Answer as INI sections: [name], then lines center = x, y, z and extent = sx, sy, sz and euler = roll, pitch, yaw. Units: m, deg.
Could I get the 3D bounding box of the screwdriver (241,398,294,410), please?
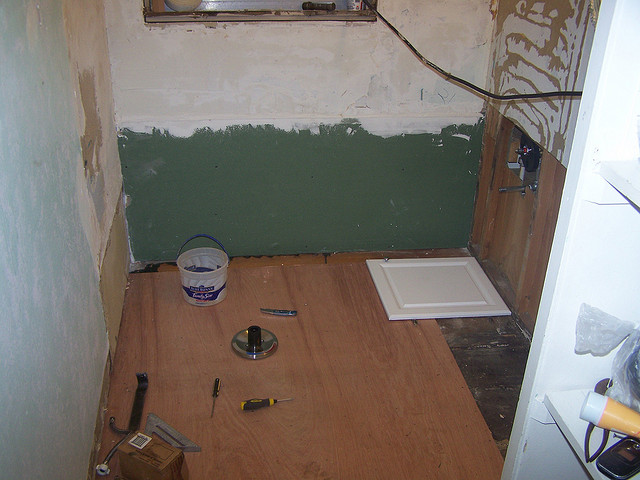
[screwdriver]
center = -0.190, 0.589, 1.899
extent = 0.201, 0.037, 0.045
euler = -1, 53, -14

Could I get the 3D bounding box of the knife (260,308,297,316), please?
[knife]
center = -0.182, 0.322, 2.346
extent = 0.181, 0.023, 0.051
euler = 7, 10, 0

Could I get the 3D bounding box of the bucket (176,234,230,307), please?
[bucket]
center = -0.563, 0.151, 2.449
extent = 0.223, 0.307, 0.198
euler = 3, 43, -2
